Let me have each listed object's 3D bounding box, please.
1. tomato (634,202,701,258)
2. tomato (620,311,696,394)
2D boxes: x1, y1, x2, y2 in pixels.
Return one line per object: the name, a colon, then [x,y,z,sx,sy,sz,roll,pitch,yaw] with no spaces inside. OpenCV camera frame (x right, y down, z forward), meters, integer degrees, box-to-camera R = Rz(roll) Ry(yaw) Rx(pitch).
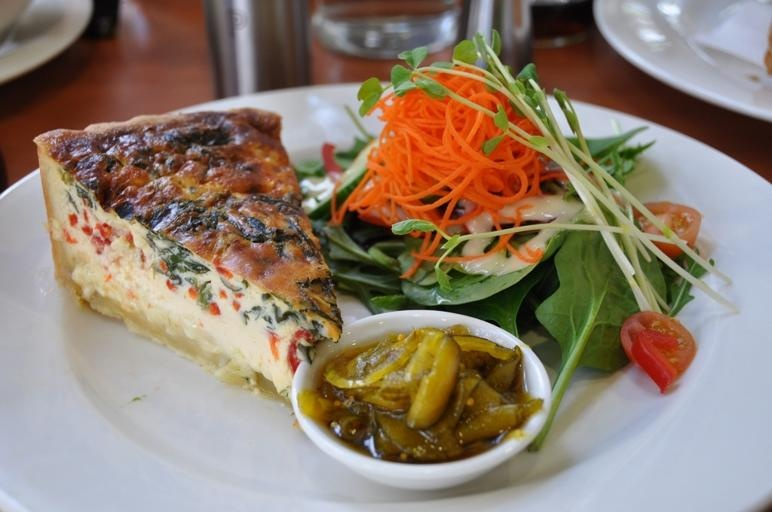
tomato: [1.366,-0.164,3.151,0.281,0.178,0.283,-22,37,-11]
tomato: [1.161,0.377,2.782,0.296,0.120,0.309,-36,58,-27]
